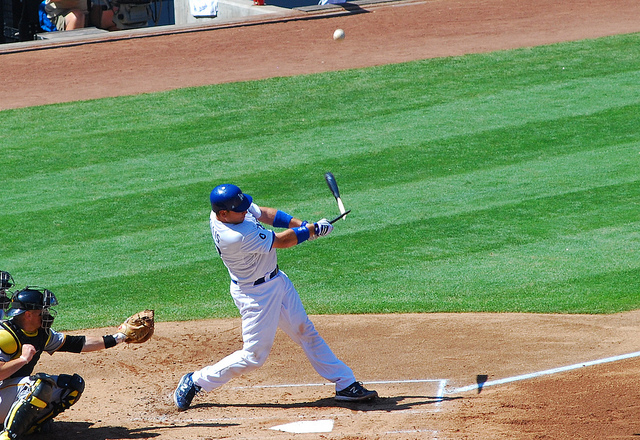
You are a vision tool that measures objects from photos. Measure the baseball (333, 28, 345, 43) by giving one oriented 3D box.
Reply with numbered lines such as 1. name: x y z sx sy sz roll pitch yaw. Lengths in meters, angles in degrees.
1. baseball: 0.417 -3.654 30.299 0.138 0.206 0.243 6 -8 -42

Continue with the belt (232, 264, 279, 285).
1. belt: -0.875 0.787 21.476 0.641 0.182 0.176 -6 11 -5

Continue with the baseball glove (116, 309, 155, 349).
1. baseball glove: -2.551 1.492 21.873 0.588 0.294 0.691 -5 25 12

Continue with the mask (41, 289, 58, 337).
1. mask: -3.701 1.248 21.183 0.246 0.475 0.371 -1 -3 -4
